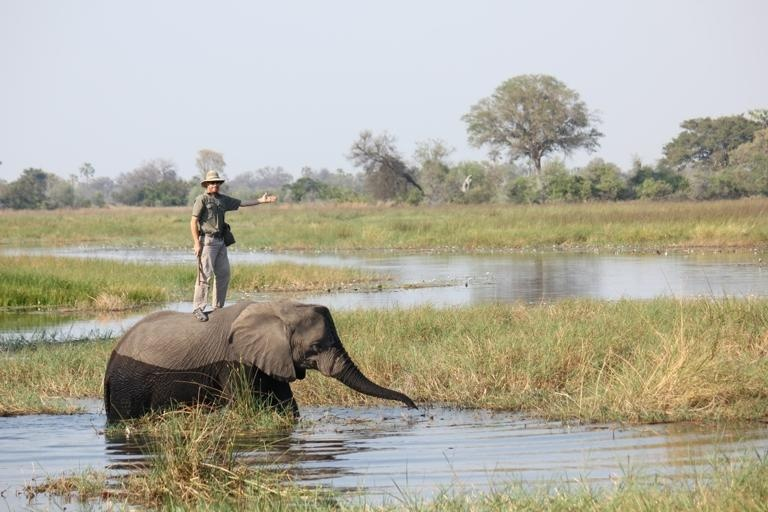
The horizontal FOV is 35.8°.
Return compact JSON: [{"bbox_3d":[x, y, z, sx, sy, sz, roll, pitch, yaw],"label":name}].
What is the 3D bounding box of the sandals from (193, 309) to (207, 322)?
[{"bbox_3d":[-3.306,1.073,21.498,0.129,0.160,0.341,-7,13,-26],"label":"sandals"}]
